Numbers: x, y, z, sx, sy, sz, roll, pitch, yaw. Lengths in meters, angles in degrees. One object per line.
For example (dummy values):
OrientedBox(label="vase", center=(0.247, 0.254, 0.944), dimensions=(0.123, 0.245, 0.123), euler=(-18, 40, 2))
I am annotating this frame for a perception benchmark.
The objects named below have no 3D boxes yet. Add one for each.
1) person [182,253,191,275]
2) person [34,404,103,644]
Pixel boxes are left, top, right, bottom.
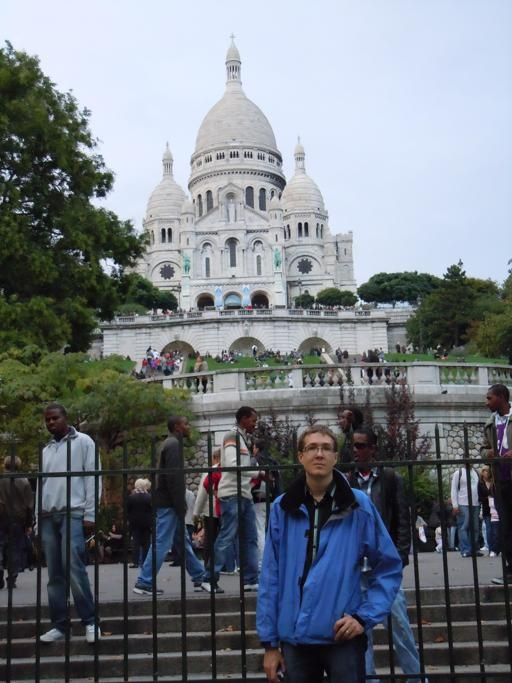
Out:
OrientedBox(label="person", center=(-4.667, -5.361, 86.207), dimensions=(0.510, 1.525, 0.920), euler=(-2, -8, -4))
OrientedBox(label="person", center=(-1.273, 1.222, 8.636), dimensions=(0.423, 1.646, 1.602), euler=(-1, -8, -9))
